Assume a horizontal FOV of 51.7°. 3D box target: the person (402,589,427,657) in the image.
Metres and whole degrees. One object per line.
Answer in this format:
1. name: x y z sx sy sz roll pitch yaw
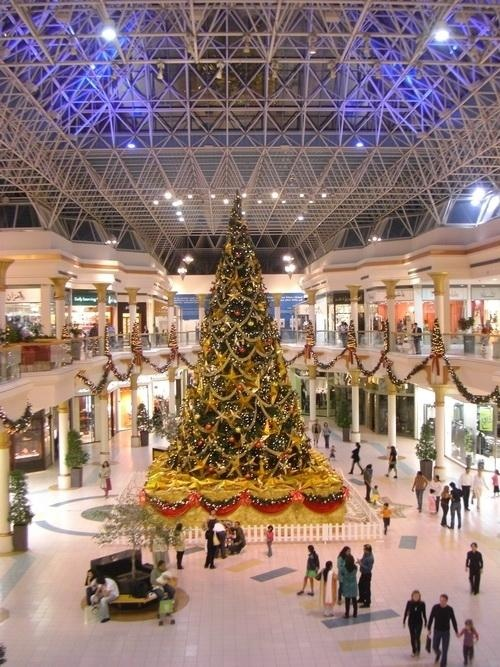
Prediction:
1. person: 2.315 4.002 7.205 0.285 0.991 0.508 -3 -5 18

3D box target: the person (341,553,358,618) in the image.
1. person: 1.685 4.208 8.747 0.255 1.056 0.537 -2 -5 12

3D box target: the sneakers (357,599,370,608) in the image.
1. sneakers: 1.974 4.686 9.004 0.177 0.166 0.078 -3 9 -11

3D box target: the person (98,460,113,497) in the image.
1. person: -5.014 5.020 17.913 0.327 1.262 1.135 0 -5 -16

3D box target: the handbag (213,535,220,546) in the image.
1. handbag: -0.750 4.620 11.560 0.099 0.292 0.200 -2 -5 17

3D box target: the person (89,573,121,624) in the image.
1. person: -2.475 4.401 8.679 0.523 0.718 0.427 3 -6 -36

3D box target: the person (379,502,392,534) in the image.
1. person: 3.580 4.804 13.629 0.220 0.800 1.172 -2 -5 13

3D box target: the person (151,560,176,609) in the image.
1. person: -1.434 4.330 8.781 0.332 0.858 0.856 1 3 -18

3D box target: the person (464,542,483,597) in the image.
1. person: 4.159 4.285 9.581 0.263 1.034 0.905 -3 -5 22

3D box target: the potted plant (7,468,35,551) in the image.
1. potted plant: -5.752 4.393 12.960 0.540 1.778 1.107 1 -5 -25

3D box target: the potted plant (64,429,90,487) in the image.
1. potted plant: -6.528 4.685 19.485 0.722 2.119 1.304 0 -5 -12
